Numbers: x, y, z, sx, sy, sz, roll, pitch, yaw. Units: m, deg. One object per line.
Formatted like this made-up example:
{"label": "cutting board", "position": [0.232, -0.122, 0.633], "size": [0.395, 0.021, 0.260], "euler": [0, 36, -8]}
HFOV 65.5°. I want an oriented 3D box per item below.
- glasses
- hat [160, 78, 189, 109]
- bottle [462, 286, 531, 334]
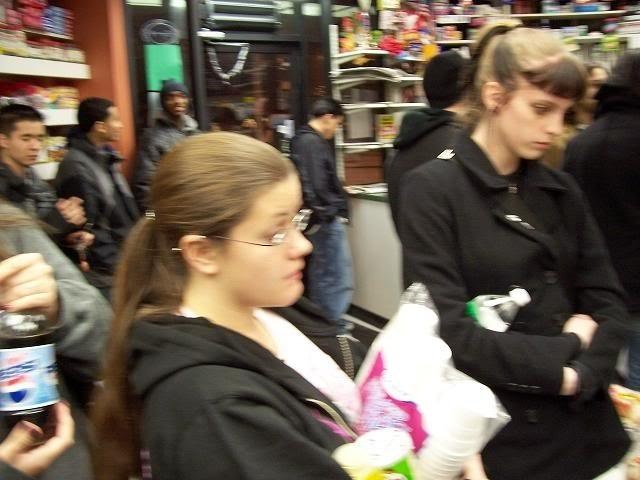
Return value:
{"label": "glasses", "position": [-0.119, -0.020, 1.137], "size": [0.155, 0.032, 0.118], "euler": [-10, 4, 14]}
{"label": "hat", "position": [-1.188, -1.189, 4.080], "size": [0.250, 0.194, 0.288], "euler": [-7, 27, -17]}
{"label": "bottle", "position": [0.500, 0.204, 1.400], "size": [0.183, 0.101, 0.061], "euler": [-24, -4, 6]}
